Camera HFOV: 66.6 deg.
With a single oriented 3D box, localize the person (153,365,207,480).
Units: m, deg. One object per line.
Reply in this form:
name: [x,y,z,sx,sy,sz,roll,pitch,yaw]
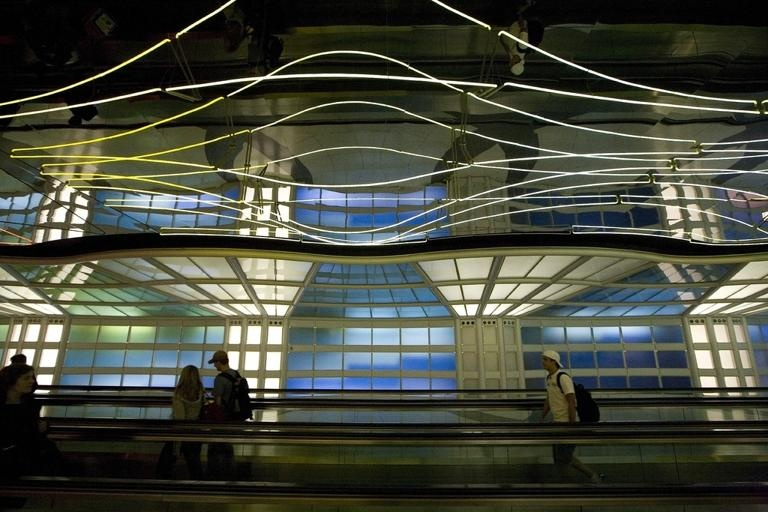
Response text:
person: [-4.458,3.620,12.971,0.869,2.379,1.546,3,-19,-14]
